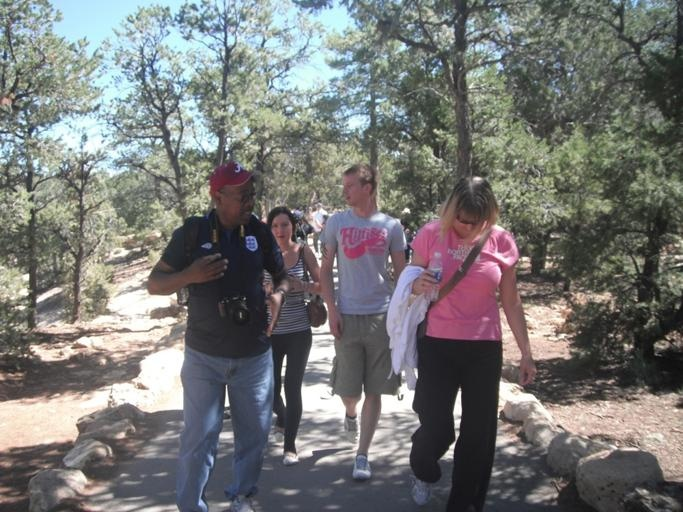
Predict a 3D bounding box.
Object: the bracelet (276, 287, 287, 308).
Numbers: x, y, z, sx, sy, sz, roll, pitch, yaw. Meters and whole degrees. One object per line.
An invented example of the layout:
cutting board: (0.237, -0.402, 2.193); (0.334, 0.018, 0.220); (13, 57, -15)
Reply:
bracelet: (-0.684, 0.457, 6.353); (0.076, 0.160, 0.129); (8, -28, -2)

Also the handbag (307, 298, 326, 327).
handbag: (-0.308, 0.716, 7.095); (0.108, 0.346, 0.226); (-11, -1, -6)

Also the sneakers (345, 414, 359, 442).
sneakers: (0.125, 2.182, 7.176); (0.118, 0.162, 0.387); (-1, 29, -6)

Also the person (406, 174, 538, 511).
person: (1.334, 0.901, 5.978); (1.187, 3.471, 0.773); (0, 6, 14)

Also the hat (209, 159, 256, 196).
hat: (-1.203, -0.827, 6.081); (0.412, 0.237, 0.303); (-27, 17, 5)
